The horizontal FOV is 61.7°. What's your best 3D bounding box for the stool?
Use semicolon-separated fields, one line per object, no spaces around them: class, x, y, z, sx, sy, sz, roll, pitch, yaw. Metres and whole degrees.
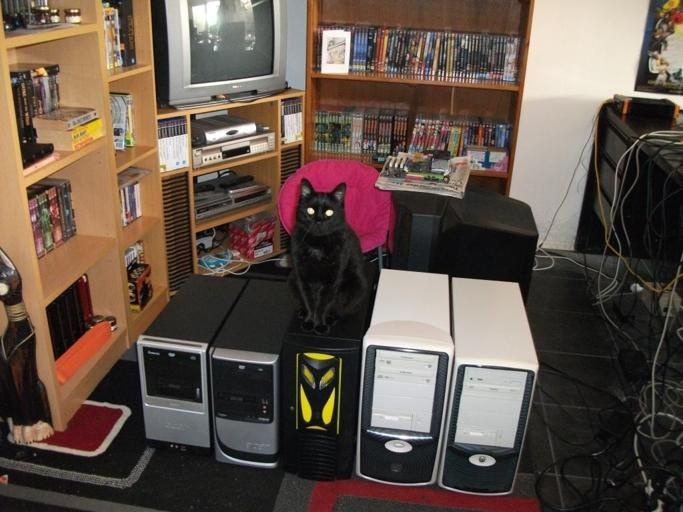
stool;0.759;-0.074;3.251;0.539;0.578;0.537;4;21;8

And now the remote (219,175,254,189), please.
remote;-0.727;-0.512;3.962;0.175;0.043;0.097;-15;22;-29

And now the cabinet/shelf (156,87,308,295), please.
cabinet/shelf;-0.691;-0.425;3.531;0.365;0.954;1.063;19;32;37

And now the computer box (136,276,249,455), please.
computer box;-0.678;0.559;2.778;0.346;0.548;0.620;6;17;12
